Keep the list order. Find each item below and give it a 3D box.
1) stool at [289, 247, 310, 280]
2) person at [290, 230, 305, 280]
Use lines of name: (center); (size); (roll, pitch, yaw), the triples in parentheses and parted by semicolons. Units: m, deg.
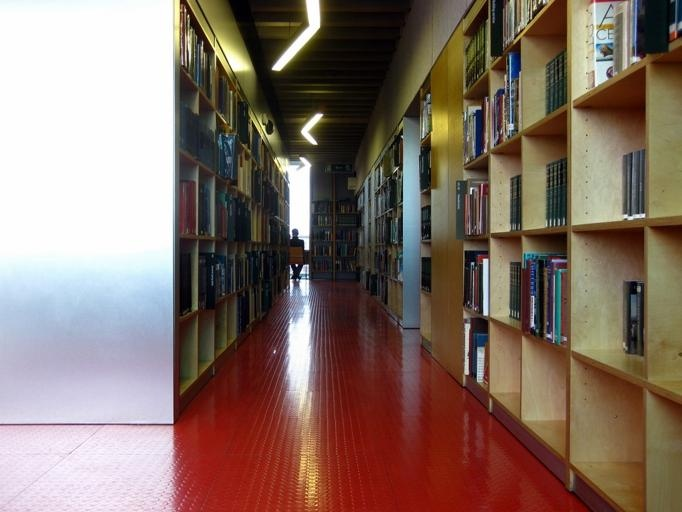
stool: (-1.179, 0.119, 14.607); (0.514, 1.224, 0.689); (1, 8, 1)
person: (-1.178, -0.047, 14.594); (0.351, 1.370, 0.791); (0, 4, -5)
